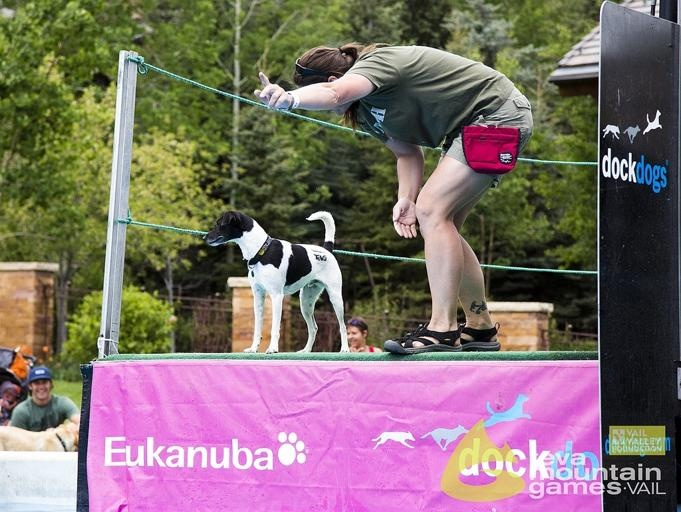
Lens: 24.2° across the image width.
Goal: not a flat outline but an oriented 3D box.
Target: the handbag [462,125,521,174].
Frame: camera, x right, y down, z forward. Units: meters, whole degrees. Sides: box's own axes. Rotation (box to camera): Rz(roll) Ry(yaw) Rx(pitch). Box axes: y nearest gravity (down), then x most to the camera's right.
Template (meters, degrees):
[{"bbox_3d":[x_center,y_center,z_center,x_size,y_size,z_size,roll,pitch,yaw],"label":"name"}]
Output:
[{"bbox_3d":[1.745,-1.197,18.189,0.686,0.566,0.170,-1,-4,-2],"label":"handbag"}]

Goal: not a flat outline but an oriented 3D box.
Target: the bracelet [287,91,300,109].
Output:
[{"bbox_3d":[-0.500,-1.723,17.837,0.115,0.166,0.163,-7,24,-12],"label":"bracelet"}]

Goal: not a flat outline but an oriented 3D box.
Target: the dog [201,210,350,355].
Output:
[{"bbox_3d":[-0.726,0.291,19.200,1.798,1.849,0.750,5,-7,-31],"label":"dog"}]

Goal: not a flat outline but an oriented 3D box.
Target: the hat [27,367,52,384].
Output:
[{"bbox_3d":[-3.883,1.548,20.648,0.283,0.204,0.303,0,-4,-16],"label":"hat"}]
